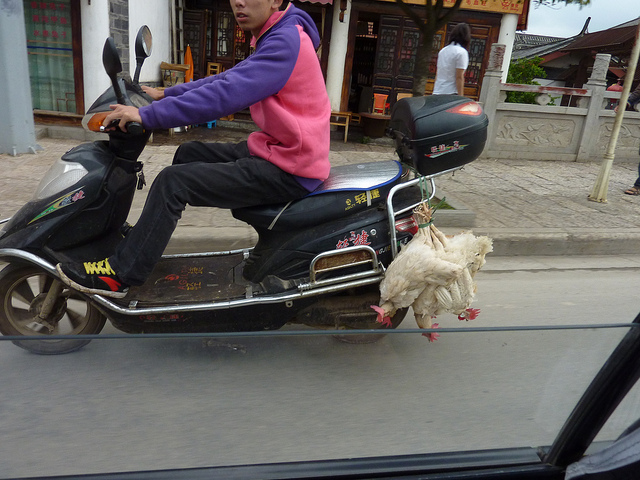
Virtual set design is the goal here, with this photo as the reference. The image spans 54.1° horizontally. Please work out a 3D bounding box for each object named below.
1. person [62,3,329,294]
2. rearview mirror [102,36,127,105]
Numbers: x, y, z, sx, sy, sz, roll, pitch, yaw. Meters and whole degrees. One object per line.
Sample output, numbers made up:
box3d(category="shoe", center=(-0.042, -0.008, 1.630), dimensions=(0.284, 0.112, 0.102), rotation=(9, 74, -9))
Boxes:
box3d(category="person", center=(-0.556, -0.469, 3.175), dimensions=(1.232, 1.456, 0.336), rotation=(1, 11, -8))
box3d(category="rearview mirror", center=(-0.947, -0.761, 2.823), dimensions=(0.134, 0.299, 0.123), rotation=(-1, 29, -12))
